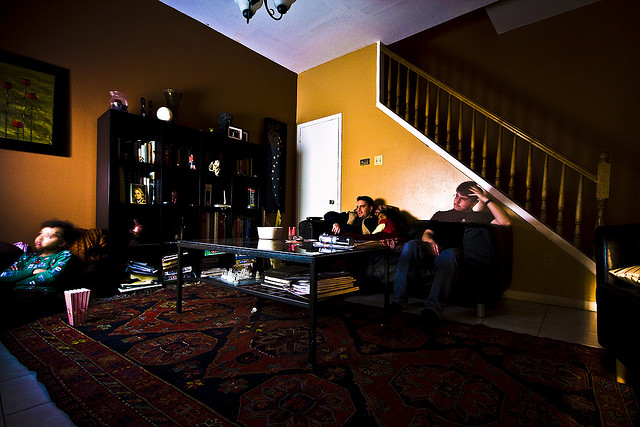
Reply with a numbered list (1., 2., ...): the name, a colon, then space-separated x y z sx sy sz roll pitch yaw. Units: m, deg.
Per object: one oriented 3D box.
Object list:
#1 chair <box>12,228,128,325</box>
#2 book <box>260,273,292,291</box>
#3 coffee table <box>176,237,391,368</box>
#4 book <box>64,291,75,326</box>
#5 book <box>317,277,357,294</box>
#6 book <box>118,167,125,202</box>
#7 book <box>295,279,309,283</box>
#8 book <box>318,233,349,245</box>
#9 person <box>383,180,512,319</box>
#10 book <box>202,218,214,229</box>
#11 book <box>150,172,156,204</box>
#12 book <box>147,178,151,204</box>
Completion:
1. chair: -2.621 0.625 4.486 0.602 0.713 0.860 -2 -8 33
2. book: -0.401 0.616 3.922 0.319 0.145 0.074 2 0 41
3. coffee table: -0.357 0.696 4.305 1.784 0.748 1.212 2 0 39
4. book: -2.279 0.873 3.958 0.089 0.346 0.043 1 0 22
5. book: 0.143 0.633 3.810 0.426 0.125 0.031 1 0 -36
6. book: -2.265 -0.327 4.962 0.069 0.423 0.042 2 0 -21
7. book: -0.153 0.594 3.788 0.115 0.029 0.014 2 0 30
8. book: 0.113 0.233 3.888 0.308 0.094 0.092 9 16 35
9. person: 1.386 0.348 4.580 0.916 1.586 0.996 10 -11 40
10. book: -1.429 0.140 5.565 0.126 0.134 0.032 1 1 -38
11. book: -2.009 -0.304 5.227 0.059 0.396 0.171 2 0 -27
12. book: -2.026 -0.264 5.151 0.039 0.317 0.052 2 0 -41
